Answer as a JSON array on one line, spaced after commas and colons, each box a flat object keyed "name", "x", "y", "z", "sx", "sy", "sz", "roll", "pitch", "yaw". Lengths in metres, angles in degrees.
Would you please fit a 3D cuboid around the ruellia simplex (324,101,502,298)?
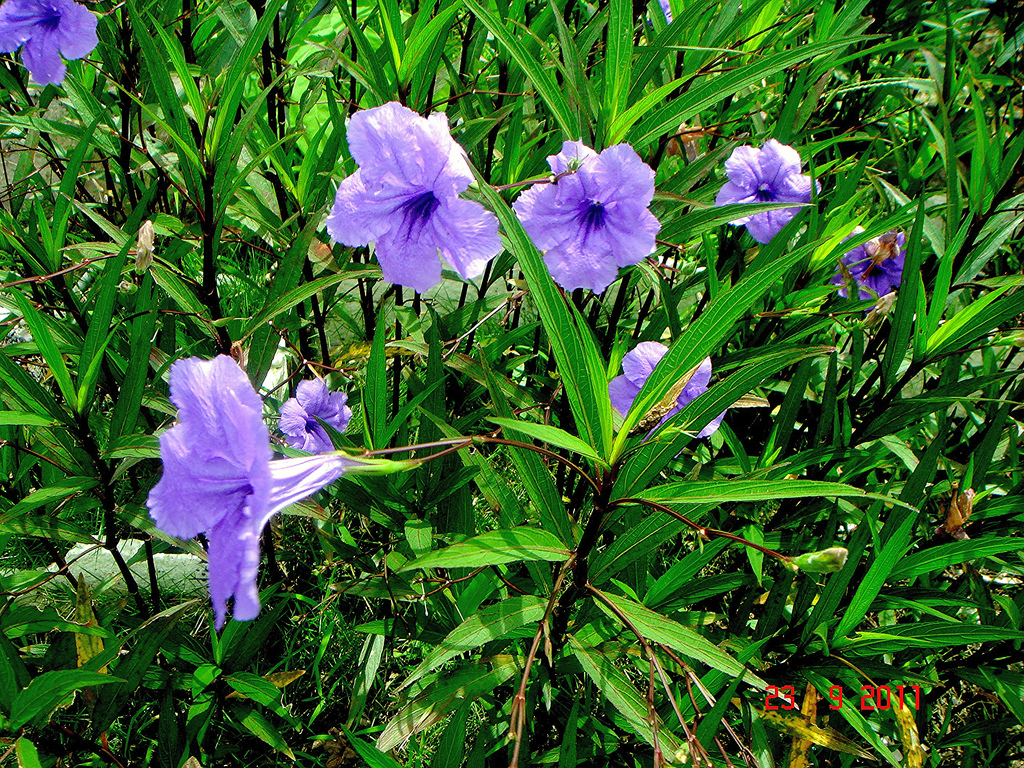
[{"name": "ruellia simplex", "x": -0.220, "y": -0.441, "z": 2.020, "sx": 0.440, "sy": 0.395, "sz": 0.238, "roll": 20, "pitch": 49, "yaw": 12}]

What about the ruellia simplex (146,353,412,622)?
[{"name": "ruellia simplex", "x": -0.498, "y": 0.200, "z": 1.718, "sx": 0.400, "sy": 0.548, "sz": 0.452, "roll": 10, "pitch": 8, "yaw": 15}]

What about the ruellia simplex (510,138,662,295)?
[{"name": "ruellia simplex", "x": 0.201, "y": -0.438, "z": 2.131, "sx": 0.338, "sy": 0.396, "sz": 0.133, "roll": -9, "pitch": 16, "yaw": 8}]

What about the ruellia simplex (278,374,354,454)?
[{"name": "ruellia simplex", "x": -0.605, "y": 0.100, "z": 2.542, "sx": 0.081, "sy": 0.226, "sz": 0.214, "roll": 8, "pitch": 18, "yaw": 42}]

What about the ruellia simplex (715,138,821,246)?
[{"name": "ruellia simplex", "x": 0.774, "y": -0.623, "z": 2.589, "sx": 0.291, "sy": 0.094, "sz": 0.269, "roll": 21, "pitch": -12, "yaw": -21}]
